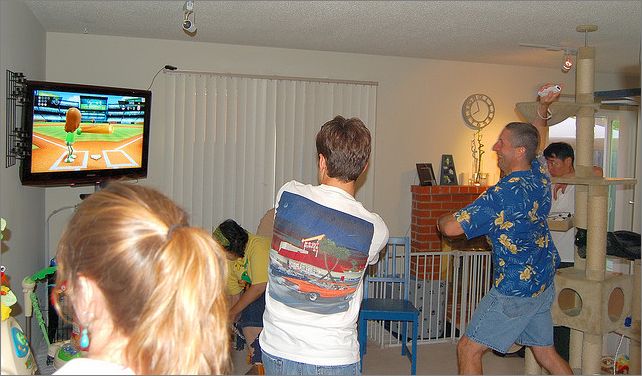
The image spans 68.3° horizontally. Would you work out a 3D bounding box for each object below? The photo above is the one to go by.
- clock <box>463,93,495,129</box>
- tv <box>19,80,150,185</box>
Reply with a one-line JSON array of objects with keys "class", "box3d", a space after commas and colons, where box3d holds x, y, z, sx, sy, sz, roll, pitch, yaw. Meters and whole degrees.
[{"class": "clock", "box3d": [2.228, -1.060, 6.619, 0.504, 0.461, 0.109, -3, 4, -19]}, {"class": "tv", "box3d": [-2.421, -0.560, 5.009, 1.531, 1.024, 0.157, 3, 2, 11]}]
